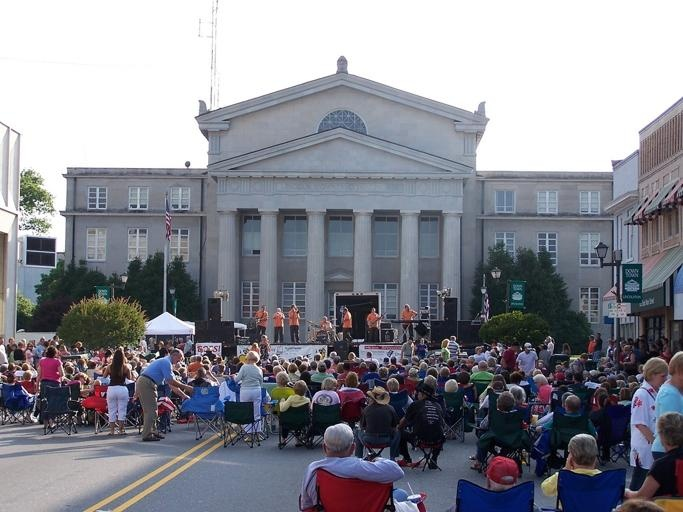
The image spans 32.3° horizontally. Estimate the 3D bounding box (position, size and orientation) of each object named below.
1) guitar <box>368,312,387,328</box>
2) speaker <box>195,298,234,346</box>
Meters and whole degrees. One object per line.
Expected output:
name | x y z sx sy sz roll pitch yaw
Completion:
guitar | 1.566 2.944 53.772 0.761 0.806 0.575 -4 -17 21
speaker | -5.560 3.052 52.250 1.323 2.388 1.133 -2 -2 8
